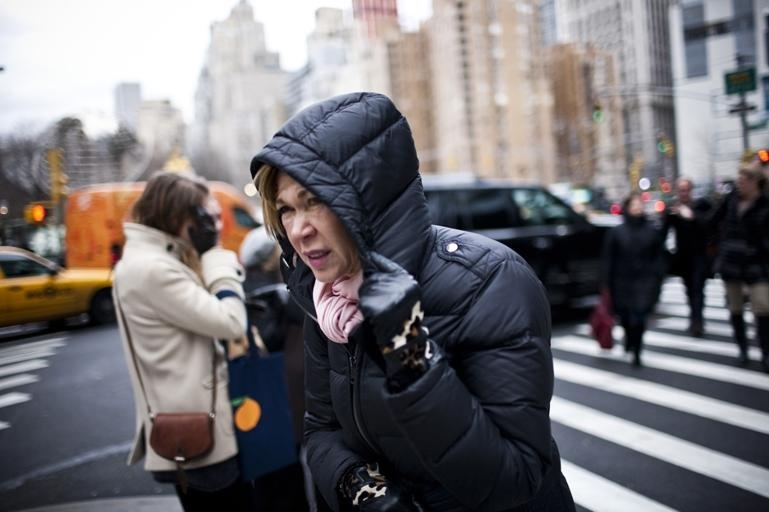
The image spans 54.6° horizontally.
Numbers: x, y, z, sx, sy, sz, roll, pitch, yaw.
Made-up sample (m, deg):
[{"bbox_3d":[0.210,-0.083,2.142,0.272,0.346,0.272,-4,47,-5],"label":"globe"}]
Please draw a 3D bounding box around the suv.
[{"bbox_3d":[1.994,-0.303,10.468,3.010,1.428,1.399,-3,2,-20],"label":"suv"}]

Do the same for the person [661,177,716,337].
[{"bbox_3d":[2.252,0.020,5.575,0.197,1.190,0.578,-2,7,4],"label":"person"}]

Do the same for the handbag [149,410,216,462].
[{"bbox_3d":[-1.251,1.110,4.598,0.299,0.249,0.062,0,-10,-1],"label":"handbag"}]
